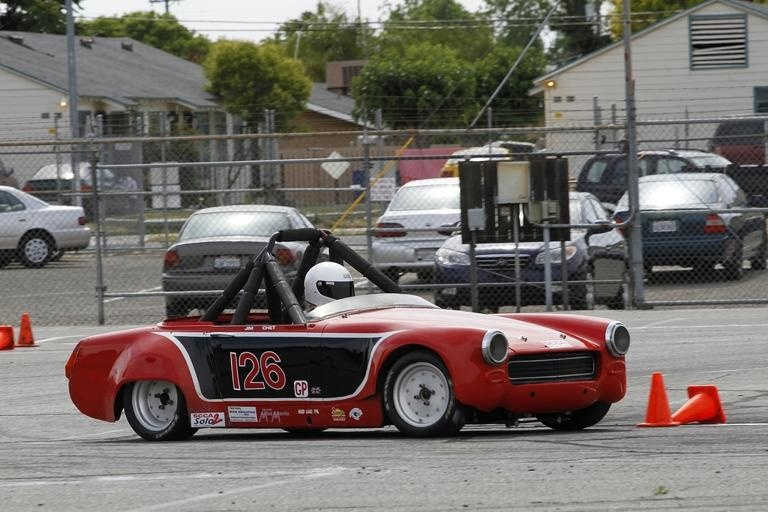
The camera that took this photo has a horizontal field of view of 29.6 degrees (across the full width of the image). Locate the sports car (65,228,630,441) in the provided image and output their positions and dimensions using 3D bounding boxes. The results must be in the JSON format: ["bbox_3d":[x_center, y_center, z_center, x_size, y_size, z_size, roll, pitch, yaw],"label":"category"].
[{"bbox_3d":[-0.632,1.018,19.601,7.047,2.040,3.573,-3,3,36],"label":"sports car"}]

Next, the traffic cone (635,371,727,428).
[{"bbox_3d":[3.870,1.874,18.892,1.164,0.621,1.252,0,-1,3],"label":"traffic cone"}]
